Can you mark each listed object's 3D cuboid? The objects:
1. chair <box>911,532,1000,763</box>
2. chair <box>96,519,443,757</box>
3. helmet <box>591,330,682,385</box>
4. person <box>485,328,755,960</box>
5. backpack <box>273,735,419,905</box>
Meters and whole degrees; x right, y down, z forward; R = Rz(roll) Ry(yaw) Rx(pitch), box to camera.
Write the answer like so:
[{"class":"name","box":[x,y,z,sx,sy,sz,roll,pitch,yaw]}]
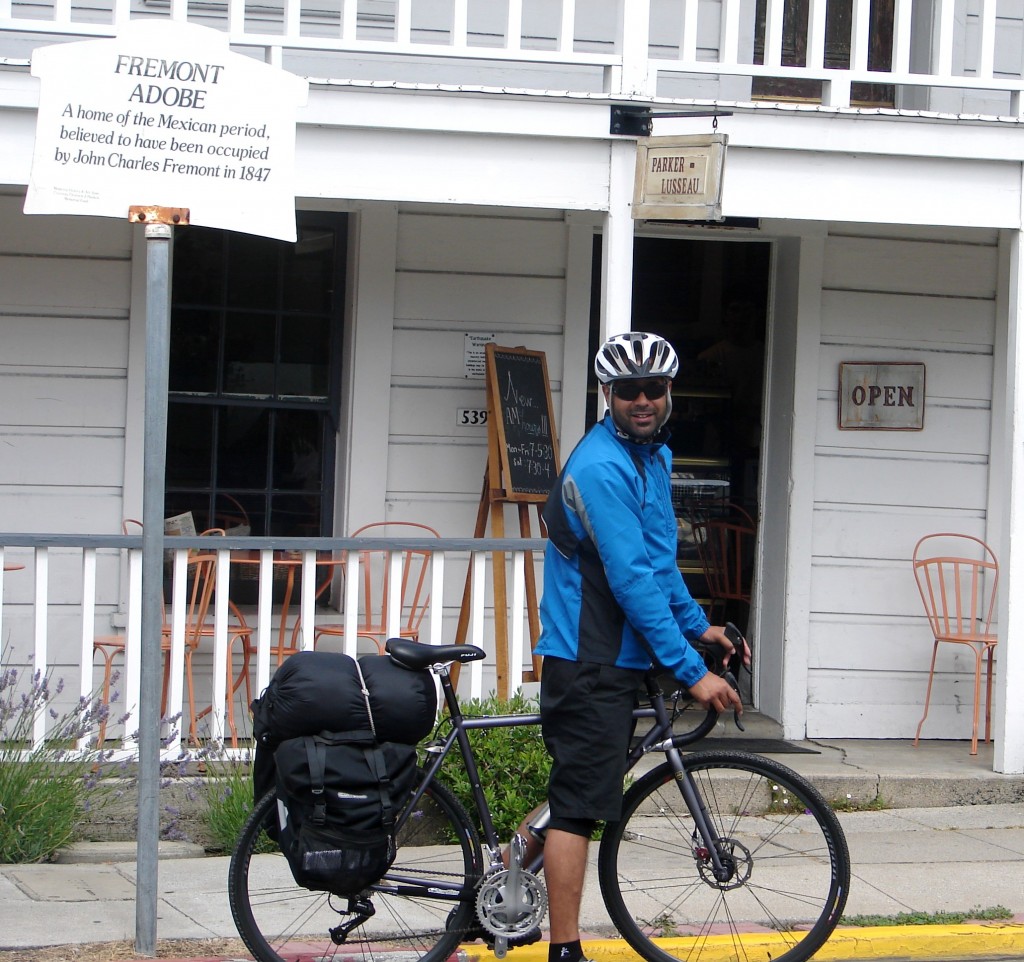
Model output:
[{"class":"chair","box":[2.382,0.858,11.032,0.456,1.159,0.582,0,-2,11]},{"class":"chair","box":[-1.169,0.664,10.438,1.219,0.889,1.300,0,1,15]},{"class":"helmet","box":[0.460,-0.483,7.947,0.367,0.220,0.568,-1,12,2]},{"class":"person","box":[0.371,0.599,7.397,0.757,2.298,0.402,0,-1,0]},{"class":"backpack","box":[-0.599,1.167,7.231,0.494,0.597,0.395,3,0,-23]}]
